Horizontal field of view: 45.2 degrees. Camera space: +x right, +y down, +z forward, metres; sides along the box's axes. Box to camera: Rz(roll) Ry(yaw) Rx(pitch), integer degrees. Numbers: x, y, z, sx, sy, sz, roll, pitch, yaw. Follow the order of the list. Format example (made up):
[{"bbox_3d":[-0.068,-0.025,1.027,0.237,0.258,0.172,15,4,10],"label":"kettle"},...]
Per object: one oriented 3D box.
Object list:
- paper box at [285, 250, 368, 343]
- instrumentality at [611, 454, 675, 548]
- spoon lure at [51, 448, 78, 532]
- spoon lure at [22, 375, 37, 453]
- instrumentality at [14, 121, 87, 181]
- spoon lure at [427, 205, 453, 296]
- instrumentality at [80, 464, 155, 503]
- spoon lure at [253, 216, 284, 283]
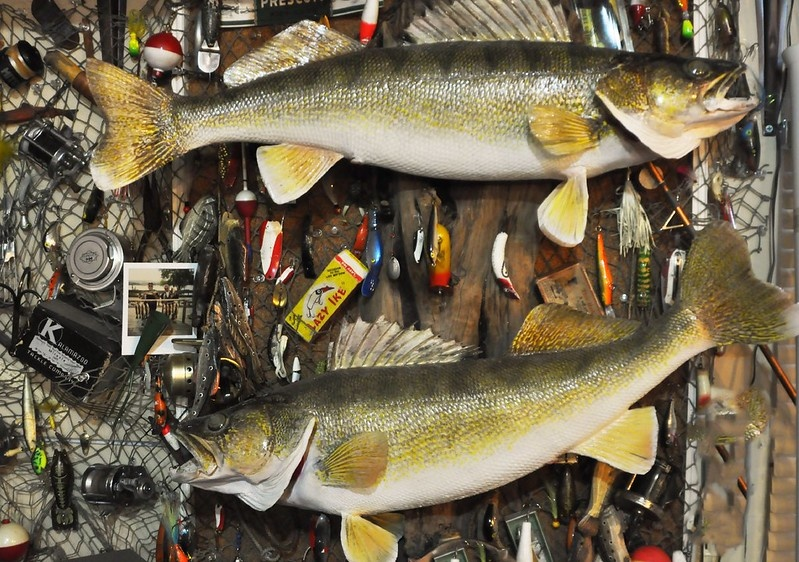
[{"bbox_3d":[-0.210,0.043,2.879,0.142,0.077,0.330,37,97,13],"label":"paper box"},{"bbox_3d":[0.708,0.649,2.827,0.135,0.139,0.257,39,76,-35],"label":"instrumentality"},{"bbox_3d":[-1.067,0.662,3.041,0.054,0.033,0.184,-3,78,-19],"label":"spoon lure"},{"bbox_3d":[-1.181,0.427,3.072,0.033,0.034,0.313,0,75,-15],"label":"spoon lure"},{"bbox_3d":[-1.101,-0.416,3.052,0.192,0.114,0.154,30,30,-5],"label":"instrumentality"},{"bbox_3d":[0.114,-0.105,2.804,0.050,0.057,0.254,-7,87,11],"label":"spoon lure"},{"bbox_3d":[-0.870,0.632,2.972,0.181,0.121,0.134,5,111,10],"label":"instrumentality"},{"bbox_3d":[-0.396,-0.092,2.915,0.060,0.040,0.192,2,83,-6],"label":"spoon lure"}]
